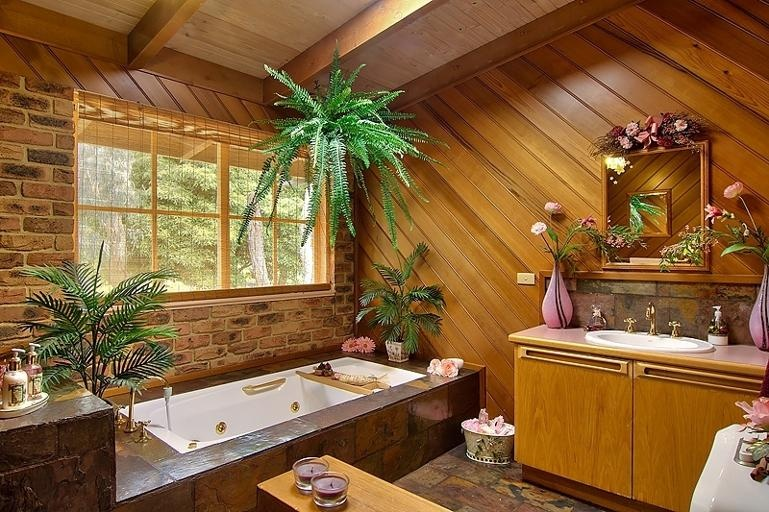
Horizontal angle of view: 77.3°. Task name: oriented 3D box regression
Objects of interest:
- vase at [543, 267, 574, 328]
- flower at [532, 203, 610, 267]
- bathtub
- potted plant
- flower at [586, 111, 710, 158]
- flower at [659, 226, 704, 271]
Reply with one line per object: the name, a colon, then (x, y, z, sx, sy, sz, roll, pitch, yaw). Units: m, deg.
vase: (1.406, 0.334, 3.947, 0.224, 0.526, 0.091, -4, -1, 13)
flower: (1.520, -0.069, 4.016, 0.462, 0.349, 0.478, -1, 17, -45)
bathtub: (-0.908, 1.236, 3.976, 2.140, 0.531, 0.799, -2, -2, -39)
potted plant: (0.165, 0.531, 4.951, 0.944, 1.050, 1.032, -1, -22, 18)
flower: (1.995, -0.929, 3.687, 0.790, 0.349, 0.105, -4, -1, 32)
flower: (2.213, -0.071, 3.624, 0.341, 0.300, 0.307, -7, 6, -2)
